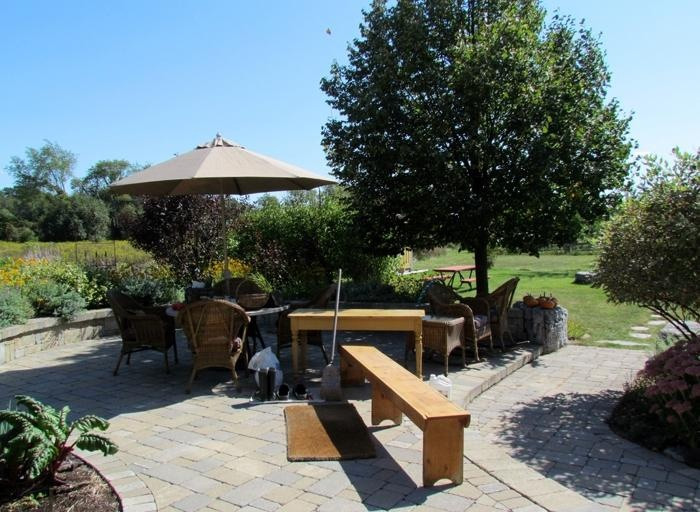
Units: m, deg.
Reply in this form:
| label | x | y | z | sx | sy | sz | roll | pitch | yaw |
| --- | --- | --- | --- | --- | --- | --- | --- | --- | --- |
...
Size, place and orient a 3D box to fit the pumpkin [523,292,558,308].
| label | x | y | z | sx | sy | sz | roll | pitch | yaw |
| --- | --- | --- | --- | --- | --- | --- | --- | --- | --- |
| pumpkin | 3.579 | 0.847 | 8.734 | 0.426 | 0.155 | 0.417 | 0 | 1 | 37 |

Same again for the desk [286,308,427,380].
| label | x | y | z | sx | sy | sz | roll | pitch | yaw |
| --- | --- | --- | --- | --- | --- | --- | --- | --- | --- |
| desk | 0.073 | 1.072 | 6.986 | 1.943 | 0.965 | 1.602 | 3 | 2 | -2 |

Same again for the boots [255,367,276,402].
| label | x | y | z | sx | sy | sz | roll | pitch | yaw |
| --- | --- | --- | --- | --- | --- | --- | --- | --- | --- |
| boots | -1.038 | 1.549 | 5.743 | 0.240 | 0.380 | 0.176 | 1 | 4 | -9 |

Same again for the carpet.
| label | x | y | z | sx | sy | sz | roll | pitch | yaw |
| --- | --- | --- | --- | --- | --- | --- | --- | --- | --- |
| carpet | -0.291 | 1.839 | 5.071 | 0.859 | 0.058 | 1.754 | 0 | -3 | -9 |

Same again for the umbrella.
| label | x | y | z | sx | sy | sz | roll | pitch | yaw |
| --- | --- | --- | --- | --- | --- | --- | --- | --- | --- |
| umbrella | -2.014 | -1.187 | 7.191 | 2.815 | 1.750 | 2.631 | -1 | 2 | -1 |

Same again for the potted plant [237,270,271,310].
| label | x | y | z | sx | sy | sz | roll | pitch | yaw |
| --- | --- | --- | --- | --- | --- | --- | --- | --- | --- |
| potted plant | -1.521 | 0.535 | 7.082 | 0.709 | 0.571 | 0.659 | 1 | -3 | -9 |

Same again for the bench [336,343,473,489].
| label | x | y | z | sx | sy | sz | roll | pitch | yaw |
| --- | --- | --- | --- | --- | --- | --- | --- | --- | --- |
| bench | 0.486 | 1.522 | 4.680 | 0.484 | 0.666 | 1.863 | 0 | 4 | -19 |

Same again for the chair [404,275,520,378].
| label | x | y | z | sx | sy | sz | roll | pitch | yaw |
| --- | --- | --- | --- | --- | --- | --- | --- | --- | --- |
| chair | 1.837 | 1.035 | 7.614 | 1.415 | 1.123 | 1.744 | -1 | -4 | -10 |

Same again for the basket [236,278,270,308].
| label | x | y | z | sx | sy | sz | roll | pitch | yaw |
| --- | --- | --- | --- | --- | --- | --- | --- | --- | --- |
| basket | -1.434 | 0.563 | 6.805 | 0.534 | 0.379 | 0.465 | 0 | -4 | -29 |

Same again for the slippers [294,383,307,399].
| label | x | y | z | sx | sy | sz | roll | pitch | yaw |
| --- | --- | --- | --- | --- | --- | --- | --- | --- | --- |
| slippers | -0.614 | 1.679 | 5.820 | 0.151 | 0.142 | 0.165 | 1 | 4 | -8 |

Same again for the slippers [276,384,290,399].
| label | x | y | z | sx | sy | sz | roll | pitch | yaw |
| --- | --- | --- | --- | --- | --- | --- | --- | --- | --- |
| slippers | -0.821 | 1.659 | 5.754 | 0.132 | 0.148 | 0.162 | 1 | 13 | 0 |
